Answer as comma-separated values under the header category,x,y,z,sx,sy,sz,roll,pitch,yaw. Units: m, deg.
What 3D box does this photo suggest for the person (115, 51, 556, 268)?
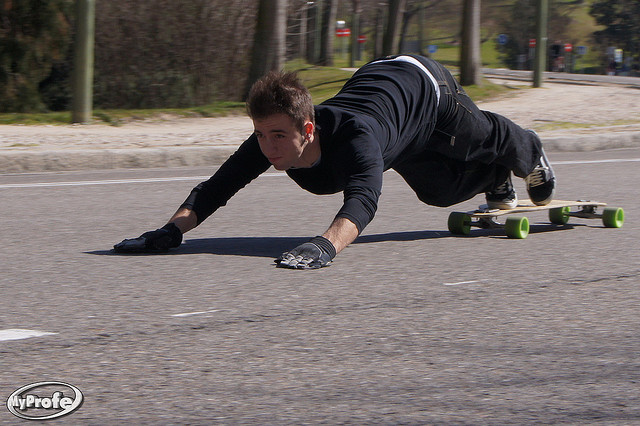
category,x,y,z,sx,sy,sz,roll,pitch,yaw
person,0.277,-0.362,4.638,1.493,0.559,2.564,-10,-6,44
